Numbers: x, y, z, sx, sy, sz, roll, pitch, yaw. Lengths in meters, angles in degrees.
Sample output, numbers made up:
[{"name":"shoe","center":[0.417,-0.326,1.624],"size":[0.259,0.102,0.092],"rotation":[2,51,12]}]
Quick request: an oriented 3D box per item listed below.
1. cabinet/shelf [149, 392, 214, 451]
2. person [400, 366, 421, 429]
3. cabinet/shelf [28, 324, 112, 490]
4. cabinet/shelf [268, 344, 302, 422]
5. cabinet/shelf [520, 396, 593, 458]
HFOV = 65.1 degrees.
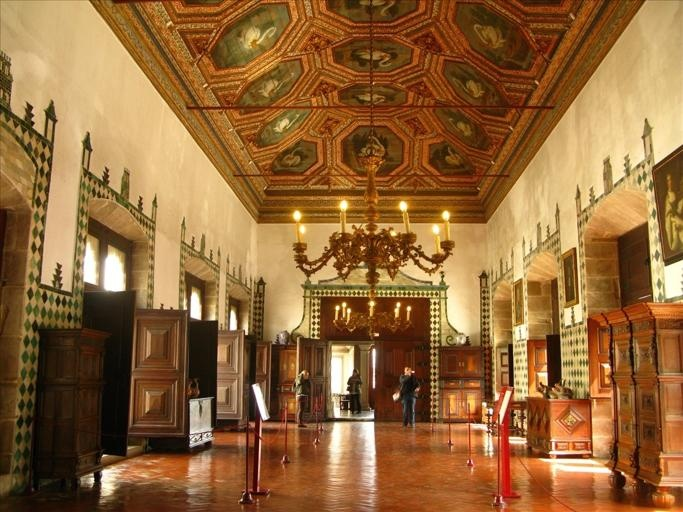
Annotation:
[{"name":"cabinet/shelf","center":[-3.390,3.561,11.434],"size":[1.045,1.159,1.936],"rotation":[4,-16,-6]},{"name":"person","center":[2.273,4.736,18.056],"size":[0.573,1.930,0.713],"rotation":[-4,-16,21]},{"name":"cabinet/shelf","center":[-3.947,2.217,7.895],"size":[0.664,2.251,1.170],"rotation":[-3,-16,18]},{"name":"cabinet/shelf","center":[-2.076,4.469,19.007],"size":[0.936,2.590,0.586],"rotation":[3,-15,-5]},{"name":"cabinet/shelf","center":[4.766,3.719,11.696],"size":[0.911,1.232,1.426],"rotation":[2,-16,-1]}]
